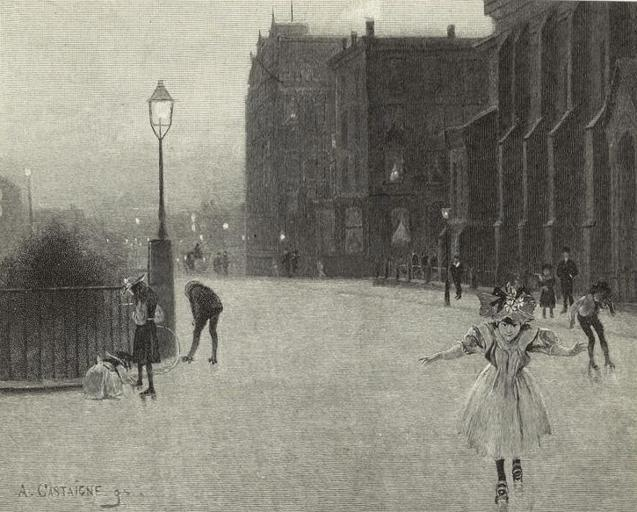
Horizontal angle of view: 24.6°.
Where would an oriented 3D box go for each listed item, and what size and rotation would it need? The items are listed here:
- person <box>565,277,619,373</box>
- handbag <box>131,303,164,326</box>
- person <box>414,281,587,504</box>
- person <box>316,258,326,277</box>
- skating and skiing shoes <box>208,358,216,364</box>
[{"bbox_3d":[5.169,1.373,27.467,0.988,1.882,1.005,-14,17,-20],"label":"person"},{"bbox_3d":[-2.773,0.971,23.737,0.470,0.369,0.423,1,10,0],"label":"handbag"},{"bbox_3d":[2.510,1.922,19.651,1.398,2.977,0.620,2,10,6],"label":"person"},{"bbox_3d":[0.136,0.526,59.976,0.188,0.682,0.958,-2,11,-12],"label":"person"},{"bbox_3d":[-1.955,1.948,26.690,0.071,0.154,0.209,1,-14,-18],"label":"skating and skiing shoes"}]
